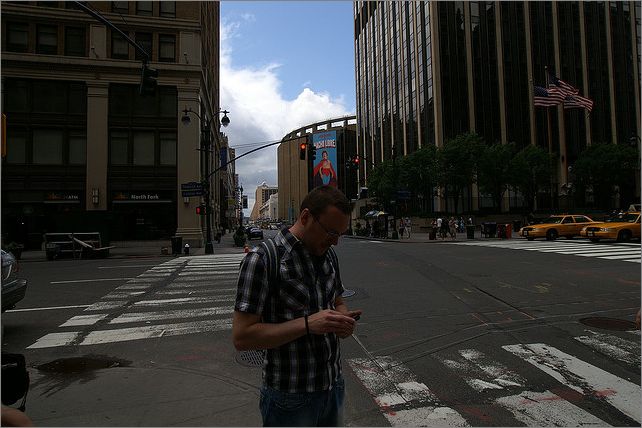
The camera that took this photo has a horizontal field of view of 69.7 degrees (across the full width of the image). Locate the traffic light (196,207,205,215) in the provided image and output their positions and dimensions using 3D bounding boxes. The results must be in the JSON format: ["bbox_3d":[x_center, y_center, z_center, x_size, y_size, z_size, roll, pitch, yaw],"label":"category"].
[{"bbox_3d":[-8.188,-0.275,31.234,0.472,0.538,1.177,-3,1,-19],"label":"traffic light"}]

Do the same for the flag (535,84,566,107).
[{"bbox_3d":[18.982,-10.016,38.734,2.078,1.775,1.892,-2,1,23],"label":"flag"}]

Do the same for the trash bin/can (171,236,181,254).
[{"bbox_3d":[-9.240,2.024,29.014,0.905,1.332,0.871,0,-6,-18],"label":"trash bin/can"}]

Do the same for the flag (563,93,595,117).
[{"bbox_3d":[21.002,-9.320,37.950,1.924,1.543,1.807,-2,1,30],"label":"flag"}]

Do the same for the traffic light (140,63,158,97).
[{"bbox_3d":[-6.977,-5.448,18.613,0.615,1.317,1.892,-2,1,-19],"label":"traffic light"}]
